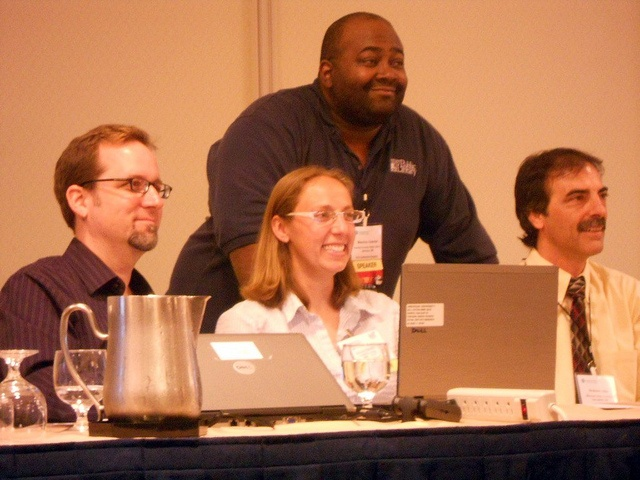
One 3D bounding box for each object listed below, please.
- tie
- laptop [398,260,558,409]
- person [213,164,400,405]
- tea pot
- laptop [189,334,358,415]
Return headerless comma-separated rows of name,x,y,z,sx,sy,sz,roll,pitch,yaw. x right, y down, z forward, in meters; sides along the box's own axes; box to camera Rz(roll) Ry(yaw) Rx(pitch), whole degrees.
tie,1.126,0.361,2.717,0.083,0.403,0.142,-5,-8,21
laptop,0.428,0.314,1.986,0.482,0.367,0.464,2,-13,-4
person,-0.056,0.140,2.220,0.661,1.124,0.356,8,-22,-31
tea pot,-0.404,0.279,1.473,0.307,0.297,0.277,0,-6,-7
laptop,-0.146,0.356,1.649,0.298,0.232,0.212,6,-11,-22
